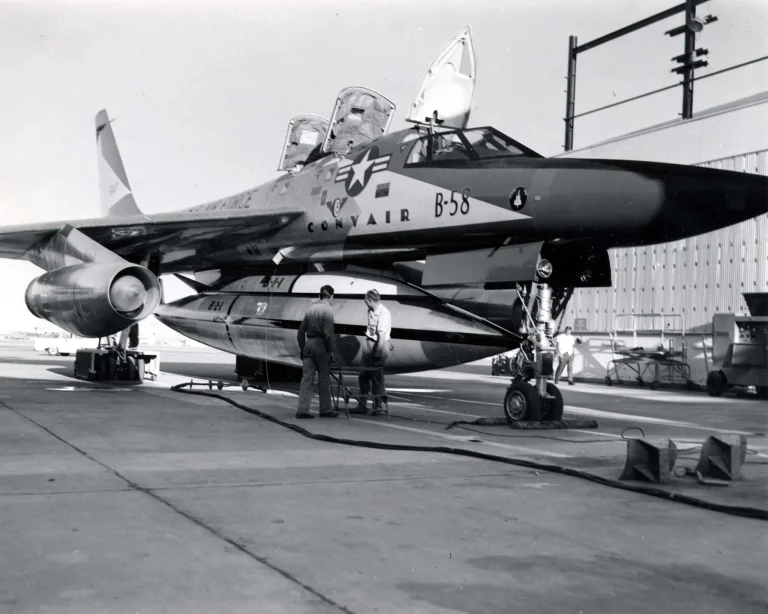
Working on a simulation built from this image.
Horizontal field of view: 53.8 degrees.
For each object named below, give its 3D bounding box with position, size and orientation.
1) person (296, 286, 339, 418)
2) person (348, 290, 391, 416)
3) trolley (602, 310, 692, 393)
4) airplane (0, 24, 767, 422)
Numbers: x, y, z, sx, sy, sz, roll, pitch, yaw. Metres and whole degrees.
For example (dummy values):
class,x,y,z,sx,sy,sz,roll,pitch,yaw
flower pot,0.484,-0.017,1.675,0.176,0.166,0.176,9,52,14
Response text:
class,x,y,z,sx,sy,sz,roll,pitch,yaw
person,-0.918,0.606,10.557,0.588,1.831,0.873,3,-4,-1
person,-0.137,0.641,11.440,0.520,1.916,1.277,3,-4,0
trolley,7.504,1.190,20.959,2.305,1.814,1.912,0,-1,39
airplane,-0.197,-1.069,11.849,8.938,3.232,8.852,3,-3,-43
